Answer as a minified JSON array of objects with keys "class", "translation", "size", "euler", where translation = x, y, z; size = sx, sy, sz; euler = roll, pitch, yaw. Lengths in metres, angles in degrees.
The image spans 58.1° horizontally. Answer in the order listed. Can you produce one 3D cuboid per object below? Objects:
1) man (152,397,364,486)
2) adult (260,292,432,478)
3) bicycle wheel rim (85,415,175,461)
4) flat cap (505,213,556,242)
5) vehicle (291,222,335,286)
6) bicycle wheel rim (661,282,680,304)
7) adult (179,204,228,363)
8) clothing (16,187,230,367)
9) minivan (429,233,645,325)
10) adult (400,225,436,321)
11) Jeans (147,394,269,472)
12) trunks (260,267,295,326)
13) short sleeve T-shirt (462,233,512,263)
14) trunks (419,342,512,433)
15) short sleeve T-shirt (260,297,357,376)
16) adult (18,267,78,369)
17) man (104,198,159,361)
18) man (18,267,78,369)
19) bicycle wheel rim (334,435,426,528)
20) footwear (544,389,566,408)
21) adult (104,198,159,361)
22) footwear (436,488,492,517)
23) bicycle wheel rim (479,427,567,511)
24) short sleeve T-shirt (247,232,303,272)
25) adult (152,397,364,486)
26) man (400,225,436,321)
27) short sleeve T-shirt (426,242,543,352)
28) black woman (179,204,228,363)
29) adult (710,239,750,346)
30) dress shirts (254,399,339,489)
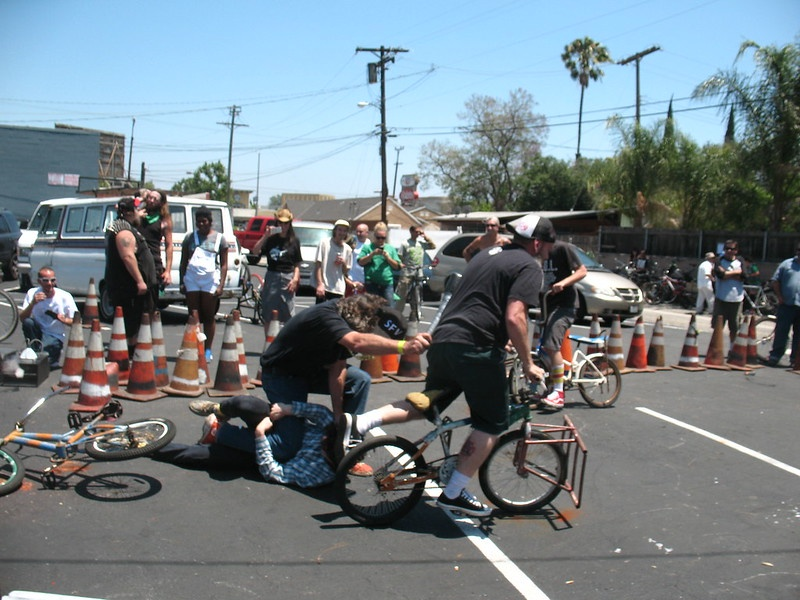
[{"class":"man","translation":[-1.115,1.275,6.538],"size":[2.077,0.814,0.748],"euler":[3,-15,4]},{"class":"adult","translation":[-0.479,0.690,6.426],"size":[1.431,1.448,0.907],"euler":[18,12,25]},{"class":"bicycle wheel rim","translation":[-2.294,1.222,6.297],"size":[0.466,0.457,0.460],"euler":[-10,18,1]},{"class":"flat cap","translation":[1.132,-0.590,6.078],"size":[0.354,0.168,0.223],"euler":[15,4,-22]},{"class":"vehicle","translation":[-2.444,-1.334,19.281],"size":[1.469,1.340,2.468],"euler":[1,2,-1]},{"class":"bicycle wheel rim","translation":[8.023,-0.262,21.554],"size":[0.590,0.821,0.281],"euler":[8,14,19]},{"class":"adult","translation":[-2.472,-0.306,9.312],"size":[0.568,1.757,0.507],"euler":[0,14,-12]},{"class":"clothing","translation":[-5.357,-0.867,14.101],"size":[4.881,2.005,2.439],"euler":[9,8,37]},{"class":"minivan","translation":[2.828,-0.243,16.198],"size":[4.655,1.800,2.361],"euler":[7,2,25]},{"class":"adult","translation":[0.354,-0.527,14.426],"size":[0.729,1.950,0.553],"euler":[0,21,-5]},{"class":"Jeans","translation":[-1.627,1.180,6.494],"size":[1.033,0.431,0.593],"euler":[0,-5,13]},{"class":"trunks","translation":[-1.563,-0.038,9.654],"size":[0.425,0.693,0.266],"euler":[2,-9,1]},{"class":"short sleeve T-shirt","translation":[0.984,-0.728,9.722],"size":[0.634,0.178,0.384],"euler":[-32,20,-24]},{"class":"trunks","translation":[0.529,0.615,5.899],"size":[0.511,0.781,0.861],"euler":[-3,9,-42]},{"class":"short sleeve T-shirt","translation":[-0.828,0.340,6.737],"size":[0.494,0.855,0.658],"euler":[49,-15,-33]},{"class":"adult","translation":[-4.423,0.227,9.203],"size":[0.662,1.192,0.674],"euler":[10,4,9]},{"class":"man","translation":[-3.154,-0.233,8.663],"size":[0.557,1.961,0.579],"euler":[-2,14,-20]},{"class":"man","translation":[-4.416,0.237,9.201],"size":[0.693,1.219,0.702],"euler":[11,4,11]},{"class":"bicycle wheel rim","translation":[-0.141,1.462,5.779],"size":[0.747,0.730,0.236],"euler":[1,3,2]},{"class":"footwear","translation":[1.737,1.121,8.232],"size":[0.128,0.146,0.350],"euler":[4,-7,42]},{"class":"adult","translation":[-3.158,-0.233,8.664],"size":[0.555,1.961,0.592],"euler":[-1,14,-19]},{"class":"footwear","translation":[0.524,1.617,5.831],"size":[0.493,0.203,0.180],"euler":[15,-2,-14]},{"class":"bicycle wheel rim","translation":[1.008,1.371,5.966],"size":[0.728,0.710,0.168],"euler":[5,10,-7]},{"class":"short sleeve T-shirt","translation":[-1.552,-0.647,9.713],"size":[0.561,0.532,0.303],"euler":[2,24,-17]},{"class":"adult","translation":[-1.093,1.252,6.623],"size":[2.077,0.814,0.748],"euler":[3,-15,4]},{"class":"man","translation":[0.351,-0.532,14.425],"size":[0.756,1.963,0.531],"euler":[3,20,3]},{"class":"short sleeve T-shirt","translation":[0.699,-0.038,5.733],"size":[0.808,0.773,0.491],"euler":[3,13,0]},{"class":"black woman","translation":[-2.472,-0.306,9.311],"size":[0.568,1.757,0.505],"euler":[0,14,-12]},{"class":"adult","translation":[5.530,-0.109,12.278],"size":[0.578,1.751,0.554],"euler":[3,6,40]},{"class":"dress shirts","translation":[-0.877,1.293,6.429],"size":[0.665,0.748,0.295],"euler":[-2,-18,1]}]
